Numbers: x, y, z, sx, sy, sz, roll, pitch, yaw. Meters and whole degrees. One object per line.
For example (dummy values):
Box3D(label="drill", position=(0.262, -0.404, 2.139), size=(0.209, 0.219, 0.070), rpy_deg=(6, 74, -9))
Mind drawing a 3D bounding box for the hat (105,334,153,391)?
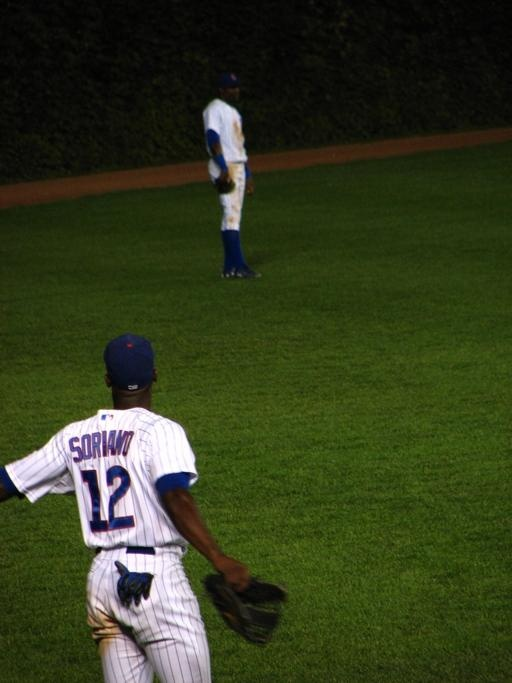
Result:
Box3D(label="hat", position=(-0.520, 0.091, 4.731), size=(0.170, 0.149, 0.240), rpy_deg=(-2, 48, -1))

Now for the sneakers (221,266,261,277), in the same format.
Box3D(label="sneakers", position=(-0.128, -0.616, 10.459), size=(0.349, 0.147, 0.116), rpy_deg=(-6, 8, 10))

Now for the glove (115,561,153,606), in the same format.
Box3D(label="glove", position=(-0.475, 0.939, 4.435), size=(0.147, 0.124, 0.119), rpy_deg=(-2, 25, 7))

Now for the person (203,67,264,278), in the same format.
Box3D(label="person", position=(-0.232, -1.430, 10.269), size=(0.365, 1.804, 0.657), rpy_deg=(-5, 25, 0))

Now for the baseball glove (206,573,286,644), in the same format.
Box3D(label="baseball glove", position=(-0.051, 1.053, 4.645), size=(0.293, 0.109, 0.298), rpy_deg=(31, 16, 17))
